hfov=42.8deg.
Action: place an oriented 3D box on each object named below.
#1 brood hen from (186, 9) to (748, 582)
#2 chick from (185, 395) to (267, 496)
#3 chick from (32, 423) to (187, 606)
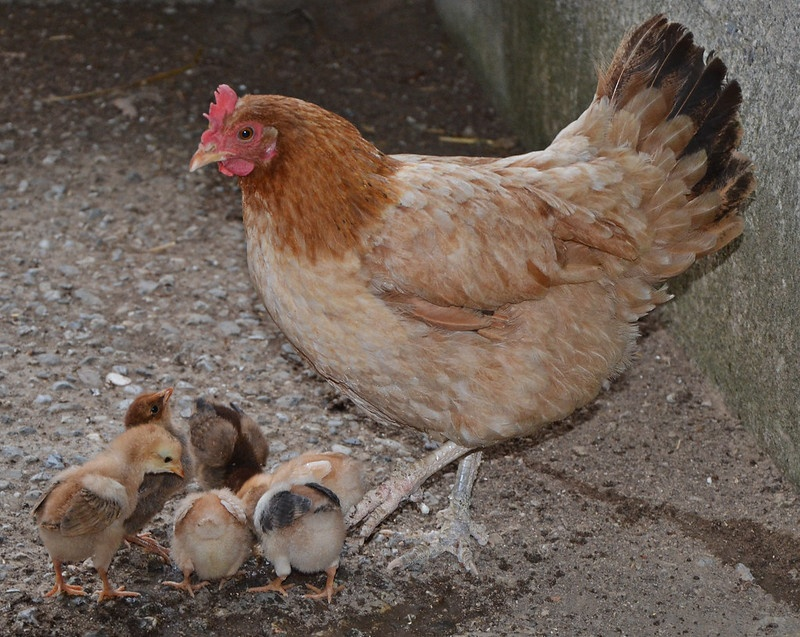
[{"bbox_3d":[0.366,-0.076,5.592,1.608,2.696,2.076,6,11,34],"label":"brood hen"},{"bbox_3d":[-1.005,0.738,6.043,0.453,0.446,0.549,16,85,-35],"label":"chick"},{"bbox_3d":[-1.558,0.999,5.446,0.579,0.517,0.970,17,51,4],"label":"chick"}]
